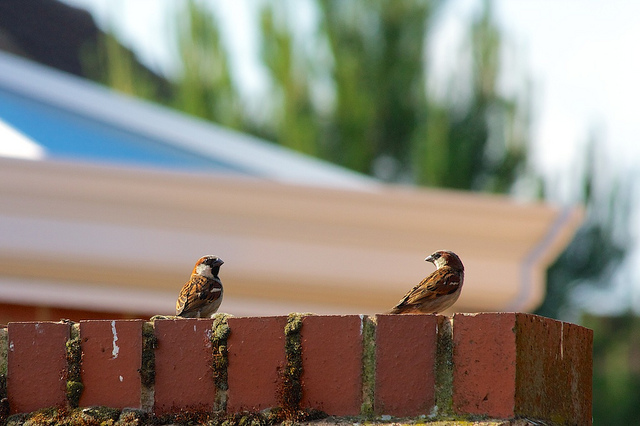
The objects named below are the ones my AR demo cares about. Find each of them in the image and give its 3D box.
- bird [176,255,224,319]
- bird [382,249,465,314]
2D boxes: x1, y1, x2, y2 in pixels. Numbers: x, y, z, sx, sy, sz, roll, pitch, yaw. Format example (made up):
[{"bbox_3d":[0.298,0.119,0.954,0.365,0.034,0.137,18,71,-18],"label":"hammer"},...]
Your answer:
[{"bbox_3d":[-0.736,0.471,8.424,0.333,0.400,0.516,-1,-3,19],"label":"bird"},{"bbox_3d":[0.699,0.431,8.333,0.493,0.405,0.259,0,-2,-5],"label":"bird"}]
